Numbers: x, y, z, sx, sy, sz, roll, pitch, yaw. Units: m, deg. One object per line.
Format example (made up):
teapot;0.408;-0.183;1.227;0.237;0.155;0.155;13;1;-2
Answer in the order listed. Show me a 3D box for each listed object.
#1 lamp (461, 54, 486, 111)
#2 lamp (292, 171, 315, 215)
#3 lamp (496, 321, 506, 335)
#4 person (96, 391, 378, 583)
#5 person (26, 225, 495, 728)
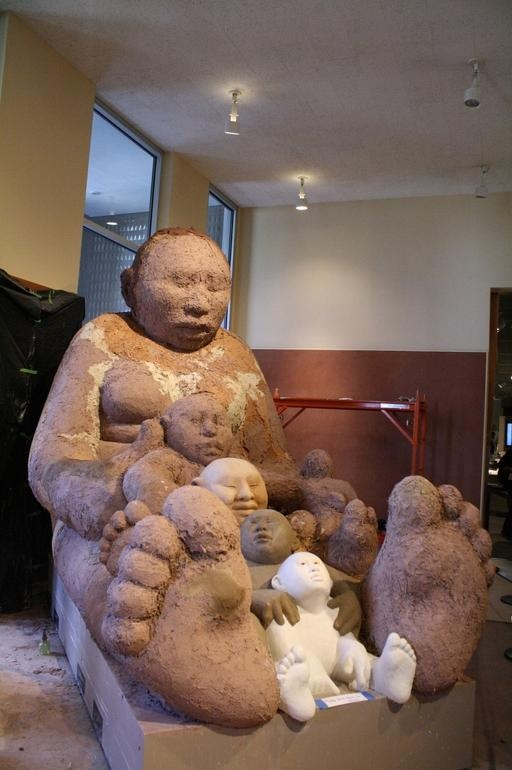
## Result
lamp;1.452;-2.004;3.751;0.096;0.267;0.097;15;27;35
lamp;0.486;-2.010;6.035;0.232;0.487;0.244;-1;1;-4
lamp;2.628;-0.606;6.041;0.060;0.180;0.125;12;4;35
person;-0.067;0.229;1.889;0.539;0.425;0.724;7;1;-31
person;-0.201;0.111;1.799;0.853;1.360;1.300;7;-1;-41
